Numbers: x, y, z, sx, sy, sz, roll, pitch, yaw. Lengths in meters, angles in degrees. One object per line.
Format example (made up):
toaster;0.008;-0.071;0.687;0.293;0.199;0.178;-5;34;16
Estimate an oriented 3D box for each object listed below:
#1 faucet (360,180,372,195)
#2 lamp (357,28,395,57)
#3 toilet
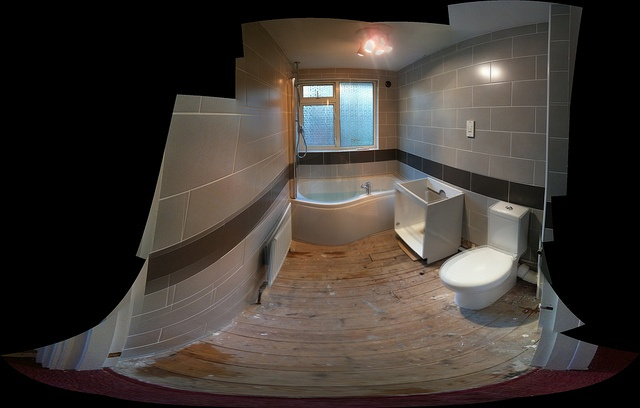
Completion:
faucet;0.252;-0.081;2.158;0.050;0.083;0.063;-5;16;-27
lamp;0.227;-0.647;1.603;0.155;0.098;0.102;0;11;-4
toilet;0.750;0.241;1.806;0.476;0.392;0.247;-22;27;-30
